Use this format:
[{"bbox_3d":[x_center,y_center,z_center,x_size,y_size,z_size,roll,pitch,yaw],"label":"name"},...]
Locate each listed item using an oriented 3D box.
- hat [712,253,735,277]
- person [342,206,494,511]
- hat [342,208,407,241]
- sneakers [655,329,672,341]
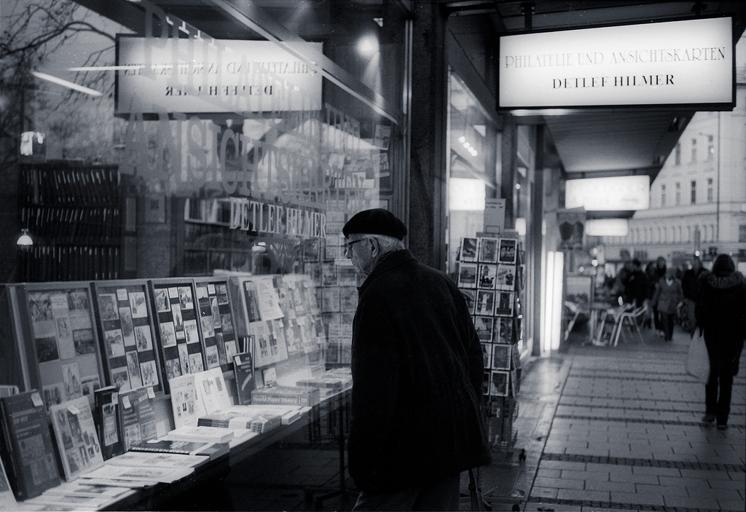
[{"bbox_3d":[4.208,0.117,8.056,0.215,0.256,0.251,1,-22,3],"label":"hat"},{"bbox_3d":[0.262,0.586,3.746,0.793,1.710,0.443,0,1,-3],"label":"person"},{"bbox_3d":[-0.010,-0.184,3.875,0.233,0.100,0.228,5,2,-40],"label":"hat"},{"bbox_3d":[7.658,2.096,17.619,0.166,0.259,0.584,1,20,11],"label":"sneakers"}]
